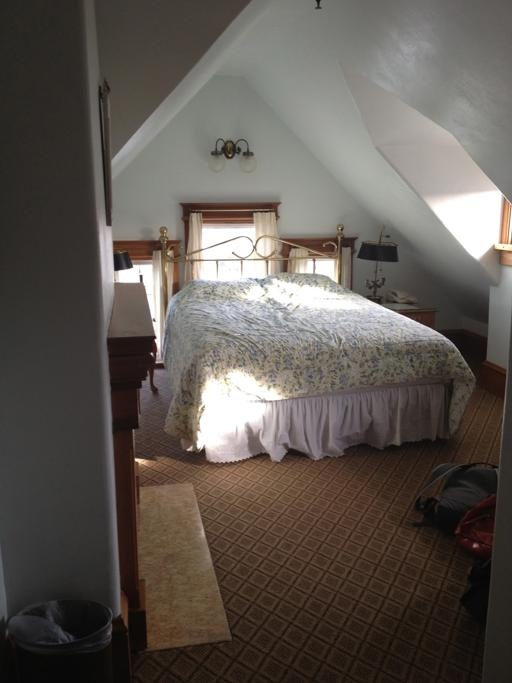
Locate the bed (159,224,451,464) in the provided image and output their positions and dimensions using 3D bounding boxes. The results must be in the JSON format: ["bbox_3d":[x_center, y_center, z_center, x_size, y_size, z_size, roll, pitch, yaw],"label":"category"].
[{"bbox_3d":[0.267,0.081,4.064,1.966,0.945,1.936,-2,12,-12],"label":"bed"}]

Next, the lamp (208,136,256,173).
[{"bbox_3d":[-0.235,-1.842,5.117,0.447,0.348,0.379,1,11,-1],"label":"lamp"}]

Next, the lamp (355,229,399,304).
[{"bbox_3d":[1.182,-0.744,5.127,0.378,0.708,0.371,3,10,-8],"label":"lamp"}]

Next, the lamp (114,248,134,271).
[{"bbox_3d":[-1.107,-0.667,4.328,0.124,0.148,0.397,-2,12,-13],"label":"lamp"}]

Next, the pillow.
[{"bbox_3d":[0.084,-0.521,4.782,0.750,0.113,0.612,-6,19,-9],"label":"pillow"}]

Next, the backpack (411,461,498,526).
[{"bbox_3d":[0.968,0.689,2.659,0.343,0.210,0.473,5,4,-13],"label":"backpack"}]
